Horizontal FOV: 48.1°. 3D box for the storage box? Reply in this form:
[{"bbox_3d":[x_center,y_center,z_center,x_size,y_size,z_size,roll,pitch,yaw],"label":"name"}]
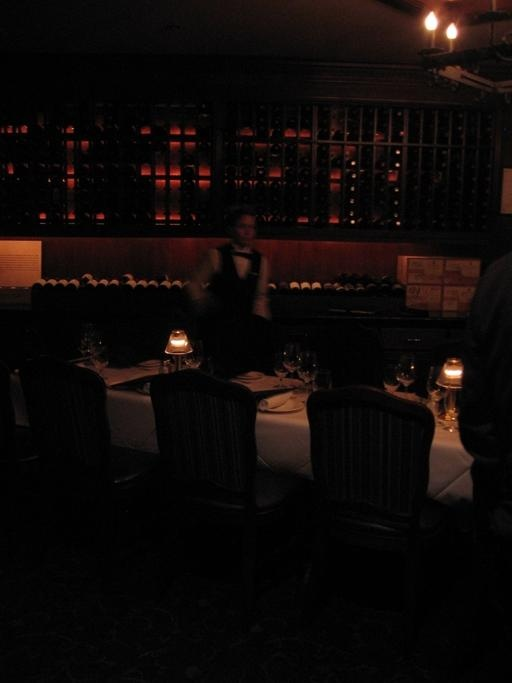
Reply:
[{"bbox_3d":[1.414,-0.438,4.495,0.610,0.576,0.221,0,5,-3],"label":"storage box"}]

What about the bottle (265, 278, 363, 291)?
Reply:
[{"bbox_3d":[0.511,-0.463,4.847,0.783,0.073,0.320,-1,10,4],"label":"bottle"}]
